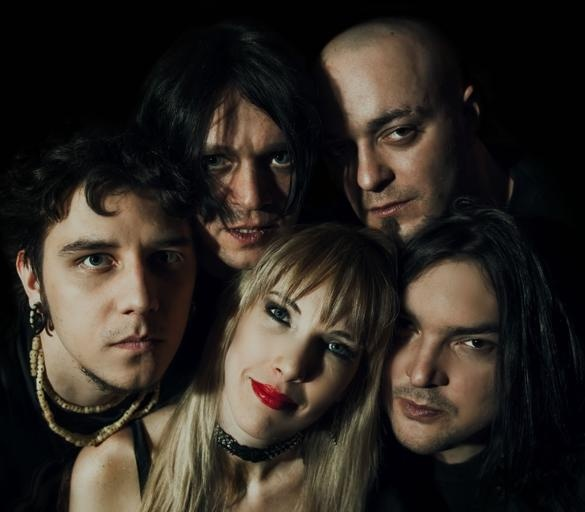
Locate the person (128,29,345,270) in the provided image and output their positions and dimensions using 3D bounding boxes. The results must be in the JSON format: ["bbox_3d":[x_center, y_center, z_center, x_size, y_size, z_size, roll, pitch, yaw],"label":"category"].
[{"bbox_3d":[-0.138,-0.444,3.116,0.693,0.961,0.735,-5,20,3],"label":"person"}]

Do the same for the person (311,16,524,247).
[{"bbox_3d":[0.416,-0.464,3.129,0.538,0.851,0.603,-13,22,19],"label":"person"}]
